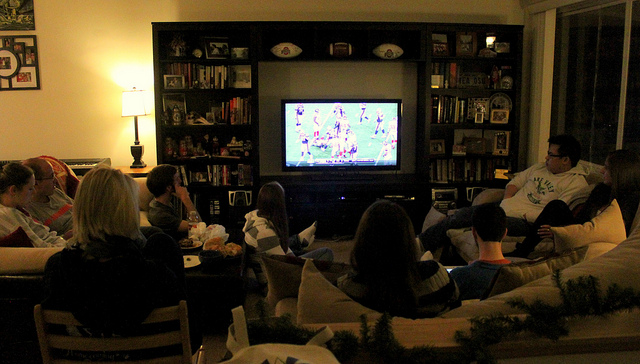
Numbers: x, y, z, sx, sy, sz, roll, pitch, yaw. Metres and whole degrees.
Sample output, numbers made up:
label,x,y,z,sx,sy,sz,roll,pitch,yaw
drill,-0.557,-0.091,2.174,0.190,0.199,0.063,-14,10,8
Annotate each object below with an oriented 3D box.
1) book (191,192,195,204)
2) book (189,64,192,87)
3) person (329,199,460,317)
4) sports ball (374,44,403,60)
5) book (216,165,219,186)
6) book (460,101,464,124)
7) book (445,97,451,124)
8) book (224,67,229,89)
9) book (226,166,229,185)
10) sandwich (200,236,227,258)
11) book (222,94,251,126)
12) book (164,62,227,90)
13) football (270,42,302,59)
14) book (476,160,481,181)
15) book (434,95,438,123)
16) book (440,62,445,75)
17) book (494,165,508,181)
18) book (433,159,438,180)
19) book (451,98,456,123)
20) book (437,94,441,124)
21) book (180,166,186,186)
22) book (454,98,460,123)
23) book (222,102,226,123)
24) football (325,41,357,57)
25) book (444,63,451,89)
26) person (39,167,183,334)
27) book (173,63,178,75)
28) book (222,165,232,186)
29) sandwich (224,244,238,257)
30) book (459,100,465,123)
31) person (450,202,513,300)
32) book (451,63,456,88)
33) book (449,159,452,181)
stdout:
label,x,y,z,sx,sy,sz,roll,pitch,yaw
book,-1.657,0.206,7.067,0.040,0.145,0.104,-5,8,-14
book,-1.665,-1.380,6.981,0.048,0.262,0.010,-6,9,-20
person,0.485,0.590,4.129,1.092,0.783,0.558,0,6,5
sports ball,0.892,-1.695,7.025,0.274,0.132,0.193,-1,21,1
book,-1.338,-0.094,7.117,0.035,0.262,0.025,-6,9,-21
book,1.887,-0.942,7.243,0.066,0.282,0.022,-7,9,-28
book,1.692,-0.951,7.201,0.066,0.248,0.260,4,5,13
book,-1.207,-1.347,6.978,0.055,0.198,0.214,-3,11,-18
book,-1.227,-0.083,7.133,0.014,0.223,0.040,1,9,27
sandwich,-1.032,0.617,5.277,0.232,0.085,0.258,-10,14,4
book,-1.136,-0.970,7.184,0.414,0.355,0.292,-10,24,-39
book,-1.611,-1.331,7.017,0.800,0.308,0.128,-3,-8,-1
football,-0.440,-1.703,7.024,0.443,0.202,0.130,-2,12,-3
book,2.144,-0.166,7.381,0.069,0.272,0.034,-9,10,-37
book,1.525,-0.978,7.182,0.064,0.235,0.245,-1,6,8
book,1.600,-1.503,7.142,0.065,0.156,0.025,-3,8,-1
book,2.404,-0.129,7.257,0.227,0.177,0.048,3,1,2
book,1.552,-0.173,7.347,0.059,0.271,0.036,-1,8,10
book,1.762,-0.951,7.211,0.062,0.232,0.253,0,6,11
book,1.566,-0.966,7.175,0.031,0.361,0.068,3,10,36
book,-1.771,-0.077,7.058,0.035,0.239,0.028,2,20,24
book,1.817,-0.960,7.228,0.083,0.307,0.013,-6,9,-24
book,-1.255,-0.917,7.089,0.063,0.252,0.021,-2,8,8
football,0.265,-1.725,7.055,0.457,0.187,0.175,-3,13,2
book,1.670,-1.417,7.143,0.084,0.312,0.045,-1,8,12
person,-1.533,0.492,3.978,1.005,1.203,0.312,-3,8,-5
book,-1.860,-1.462,6.970,0.053,0.145,0.019,-2,8,2
book,-1.223,-0.097,7.129,0.132,0.263,0.041,-6,9,-21
sandwich,-0.848,0.649,5.134,0.099,0.027,0.098,33,36,16
book,1.889,-0.946,7.243,0.084,0.291,0.029,-7,9,-29
person,1.400,0.611,4.737,0.790,0.602,0.356,-3,18,-2
book,1.747,-1.413,7.149,0.050,0.320,0.074,2,9,29
book,1.763,-0.173,7.356,0.041,0.273,0.021,-3,8,0
